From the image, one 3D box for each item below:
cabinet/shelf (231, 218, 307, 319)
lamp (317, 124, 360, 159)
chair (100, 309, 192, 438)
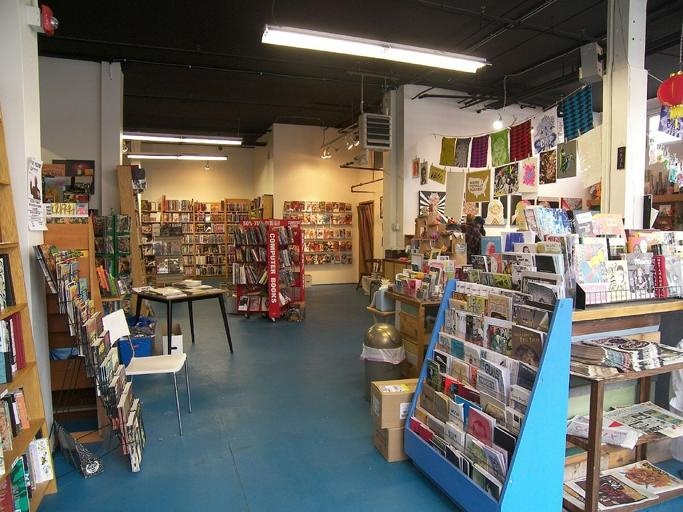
[{"bbox_3d":[-1.505,0.155,9.189,1.139,1.776,1.505,-3,10,-19],"label":"cabinet/shelf"},{"bbox_3d":[-0.101,-3.213,13.199,1.041,0.910,2.077,-1,9,-2],"label":"lamp"},{"bbox_3d":[-1.833,0.903,4.406,0.630,0.420,0.483,-8,23,-4],"label":"chair"}]
